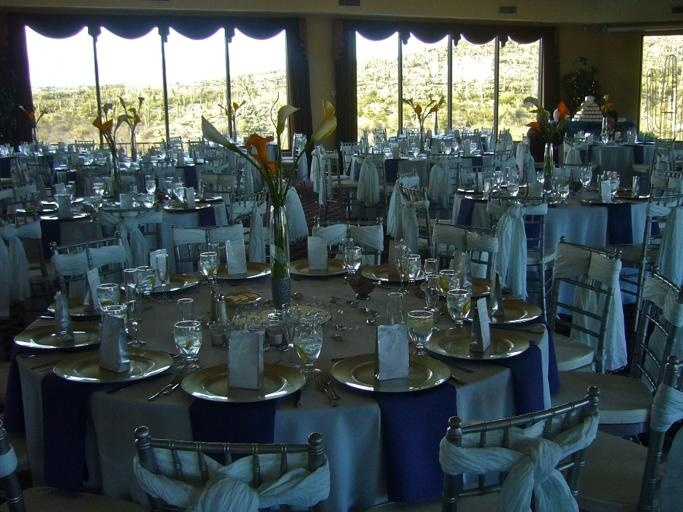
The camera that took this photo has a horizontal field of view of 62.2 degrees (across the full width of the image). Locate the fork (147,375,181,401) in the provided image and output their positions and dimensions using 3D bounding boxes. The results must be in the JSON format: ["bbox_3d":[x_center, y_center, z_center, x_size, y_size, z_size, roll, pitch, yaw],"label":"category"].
[{"bbox_3d":[-0.651,0.491,2.113,0.036,0.016,0.132,1,13,7],"label":"fork"}]

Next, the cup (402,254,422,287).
[{"bbox_3d":[0.375,0.068,3.032,0.117,0.228,0.135,2,13,7],"label":"cup"}]

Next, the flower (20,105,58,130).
[{"bbox_3d":[-6.877,-3.185,12.780,0.399,0.631,0.561,10,12,27],"label":"flower"}]

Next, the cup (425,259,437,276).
[{"bbox_3d":[0.482,0.059,2.993,0.071,0.083,0.077,0,6,0],"label":"cup"}]

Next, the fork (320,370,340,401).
[{"bbox_3d":[-0.049,0.480,2.098,0.029,0.028,0.186,-3,26,-11],"label":"fork"}]

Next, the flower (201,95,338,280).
[{"bbox_3d":[-0.301,-0.281,2.665,0.594,0.798,0.502,-12,20,-39],"label":"flower"}]

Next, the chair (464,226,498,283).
[{"bbox_3d":[0.937,-0.017,3.802,0.230,0.471,0.275,5,33,10],"label":"chair"}]

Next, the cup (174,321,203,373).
[{"bbox_3d":[-0.608,0.350,2.254,0.104,0.203,0.118,-2,12,-24],"label":"cup"}]

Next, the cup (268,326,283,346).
[{"bbox_3d":[-0.290,0.346,2.471,0.052,0.061,0.077,-1,8,-5],"label":"cup"}]

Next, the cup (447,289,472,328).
[{"bbox_3d":[0.532,0.249,2.577,0.089,0.161,0.091,-6,16,2],"label":"cup"}]

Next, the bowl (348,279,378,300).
[{"bbox_3d":[0.108,0.166,3.010,0.098,0.090,0.121,0,3,-1],"label":"bowl"}]

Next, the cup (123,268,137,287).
[{"bbox_3d":[-1.042,0.103,2.785,0.055,0.096,0.055,3,20,-1],"label":"cup"}]

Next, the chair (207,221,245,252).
[{"bbox_3d":[-0.777,-0.134,3.964,0.210,0.319,0.213,1,4,19],"label":"chair"}]

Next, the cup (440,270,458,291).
[{"bbox_3d":[0.511,0.106,2.743,0.078,0.104,0.085,-2,11,0],"label":"cup"}]

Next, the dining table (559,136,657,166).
[{"bbox_3d":[4.720,-1.860,9.964,1.194,0.762,1.319,3,12,18],"label":"dining table"}]

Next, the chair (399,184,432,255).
[{"bbox_3d":[0.789,-0.437,5.806,0.457,0.740,0.523,-3,1,-3],"label":"chair"}]

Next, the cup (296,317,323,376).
[{"bbox_3d":[-0.128,0.340,2.177,0.117,0.236,0.120,2,20,-1],"label":"cup"}]

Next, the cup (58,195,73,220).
[{"bbox_3d":[-2.618,-0.483,5.351,0.126,0.205,0.298,-8,16,-26],"label":"cup"}]

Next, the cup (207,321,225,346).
[{"bbox_3d":[-0.545,0.335,2.485,0.079,0.106,0.089,-1,6,1],"label":"cup"}]

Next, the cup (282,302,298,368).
[{"bbox_3d":[-0.212,0.342,2.360,0.073,0.247,0.075,-2,-2,0],"label":"cup"}]

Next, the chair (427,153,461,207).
[{"bbox_3d":[1.451,-1.126,8.120,0.311,0.661,0.262,7,0,31],"label":"chair"}]

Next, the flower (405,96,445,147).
[{"bbox_3d":[1.374,-2.187,9.706,0.516,0.747,0.505,-3,25,-4],"label":"flower"}]
